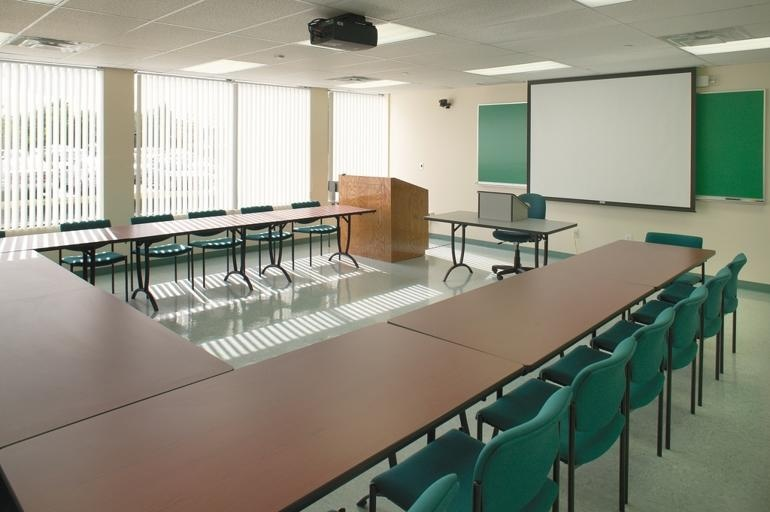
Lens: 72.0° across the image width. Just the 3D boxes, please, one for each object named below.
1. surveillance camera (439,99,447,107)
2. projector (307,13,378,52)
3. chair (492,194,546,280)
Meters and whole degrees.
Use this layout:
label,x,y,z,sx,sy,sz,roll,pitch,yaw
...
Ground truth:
label,x,y,z,sx,sy,sz,roll,pitch,yaw
surveillance camera,1.158,-3.116,10.727,0.154,0.107,0.154,1,14,39
projector,-0.385,-2.249,5.385,0.492,0.225,0.356,-6,11,-40
chair,2.044,-0.336,8.232,0.916,1.243,0.836,1,9,9
